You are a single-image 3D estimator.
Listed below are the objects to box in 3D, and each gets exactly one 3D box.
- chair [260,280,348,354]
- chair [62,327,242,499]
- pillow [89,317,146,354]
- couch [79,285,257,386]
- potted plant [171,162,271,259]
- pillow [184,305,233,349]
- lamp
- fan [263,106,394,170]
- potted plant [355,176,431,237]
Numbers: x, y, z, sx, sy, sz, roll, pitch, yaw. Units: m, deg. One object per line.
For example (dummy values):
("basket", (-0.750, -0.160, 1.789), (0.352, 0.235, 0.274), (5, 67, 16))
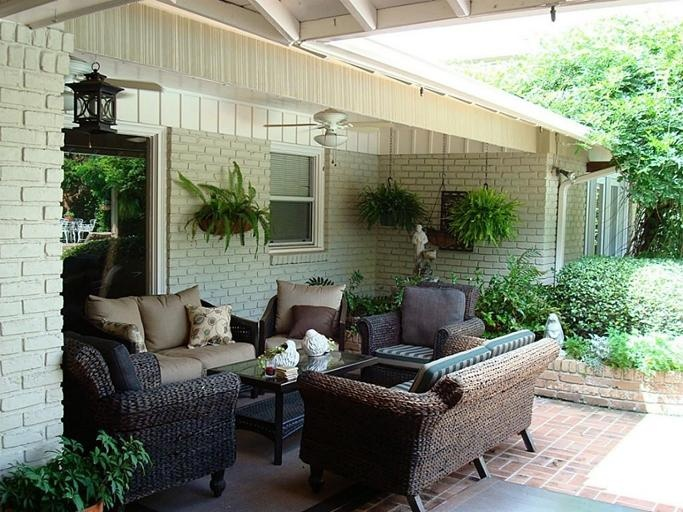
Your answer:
("chair", (-0.404, 0.670, 5.828), (1.110, 0.746, 0.833), (1, -1, 3))
("chair", (-1.365, 1.003, 3.627), (1.238, 0.996, 1.425), (0, 5, -44))
("pillow", (-1.969, 0.666, 4.517), (0.513, 0.295, 0.463), (2, 4, -20))
("couch", (-1.743, 0.694, 4.866), (1.012, 0.696, 1.406), (3, 3, 41))
("potted plant", (-1.275, -0.570, 5.848), (0.689, 0.932, 1.261), (8, 6, 38))
("pillow", (-1.354, 0.701, 5.240), (0.522, 0.378, 0.443), (1, 5, -42))
("lamp", (-1.404, -0.872, 2.835), (0.267, 0.326, 0.143), (2, 5, 14))
("fan", (-0.053, -1.287, 5.323), (1.210, 0.506, 1.164), (-1, -2, 30))
("potted plant", (0.780, -0.773, 7.713), (1.078, 0.562, 0.936), (1, 1, -21))
